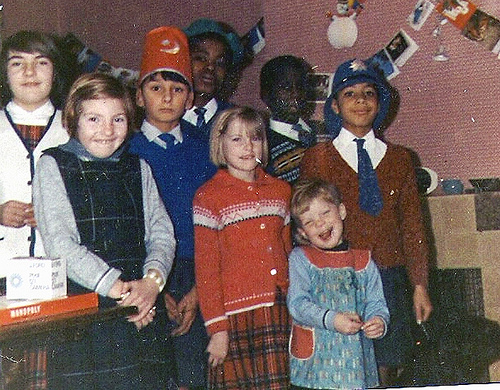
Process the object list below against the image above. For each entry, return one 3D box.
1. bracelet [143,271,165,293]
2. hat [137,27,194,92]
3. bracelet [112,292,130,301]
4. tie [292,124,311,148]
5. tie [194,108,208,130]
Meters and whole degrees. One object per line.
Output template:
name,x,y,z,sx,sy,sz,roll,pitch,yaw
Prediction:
bracelet,-0.436,0.392,3.153,0.036,0.098,0.078,-34,-31,-18
hat,-0.395,-0.647,3.345,0.249,0.290,0.254,2,3,-21
bracelet,-0.568,0.458,3.068,0.047,0.016,0.034,-34,17,-32
tie,0.258,-0.287,3.444,0.078,0.111,0.027,-42,3,-34
tie,-0.242,-0.363,3.274,0.057,0.096,0.025,-10,11,-1
